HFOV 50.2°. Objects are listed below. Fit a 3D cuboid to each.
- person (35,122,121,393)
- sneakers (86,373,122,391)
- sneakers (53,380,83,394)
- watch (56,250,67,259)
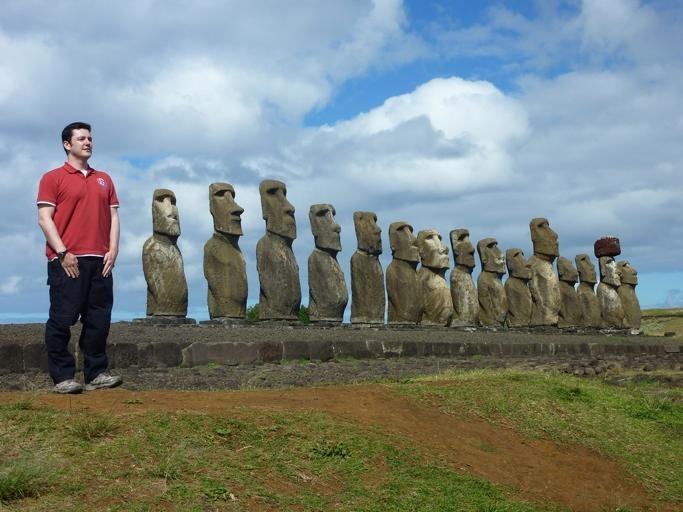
[{"bbox_3d":[-2.826,-0.024,7.919,0.856,2.933,0.448,0,-6,-30],"label":"person"},{"bbox_3d":[-2.585,1.357,7.996,0.437,0.202,0.157,-8,-9,7],"label":"sneakers"},{"bbox_3d":[-2.887,1.368,7.693,0.311,0.144,0.122,-5,-14,19],"label":"sneakers"},{"bbox_3d":[-2.914,-0.023,7.647,0.082,0.049,0.097,-19,-15,-46],"label":"watch"}]
